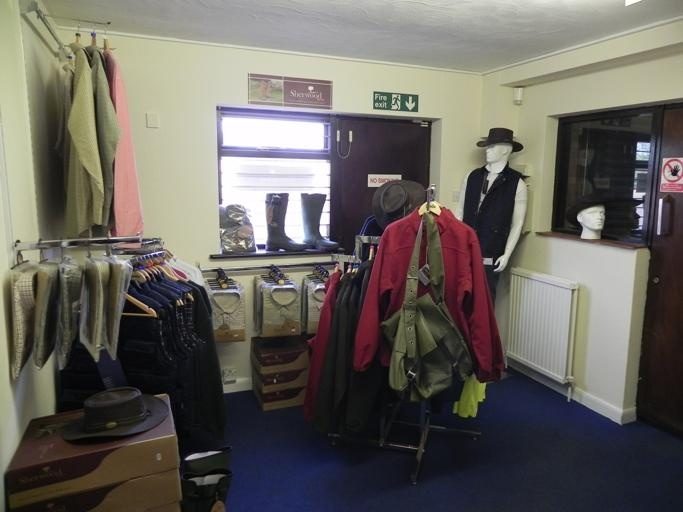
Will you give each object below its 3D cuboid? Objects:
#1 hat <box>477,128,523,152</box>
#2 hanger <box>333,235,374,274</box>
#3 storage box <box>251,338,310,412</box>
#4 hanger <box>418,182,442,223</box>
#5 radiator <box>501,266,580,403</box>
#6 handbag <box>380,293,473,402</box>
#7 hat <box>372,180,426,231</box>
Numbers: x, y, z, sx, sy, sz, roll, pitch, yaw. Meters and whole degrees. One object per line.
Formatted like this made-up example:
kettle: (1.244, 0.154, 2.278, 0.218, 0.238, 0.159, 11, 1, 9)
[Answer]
hat: (1.372, -0.998, 4.445, 0.379, 0.227, 0.434, 6, 17, 20)
hanger: (0.100, -0.026, 3.501, 0.262, 0.272, 0.483, -1, 16, -5)
storage box: (-0.489, 0.894, 4.116, 0.453, 0.475, 0.408, -3, 16, -13)
hanger: (0.536, -0.339, 3.075, 0.152, 0.188, 0.118, -14, 20, -42)
radiator: (1.666, 0.649, 4.264, 0.121, 1.089, 0.922, 1, 5, -19)
handbag: (0.501, 0.506, 3.049, 0.420, 0.498, 0.280, -31, 12, -4)
hat: (0.414, -0.353, 3.507, 0.347, 0.317, 0.324, -5, 16, -16)
